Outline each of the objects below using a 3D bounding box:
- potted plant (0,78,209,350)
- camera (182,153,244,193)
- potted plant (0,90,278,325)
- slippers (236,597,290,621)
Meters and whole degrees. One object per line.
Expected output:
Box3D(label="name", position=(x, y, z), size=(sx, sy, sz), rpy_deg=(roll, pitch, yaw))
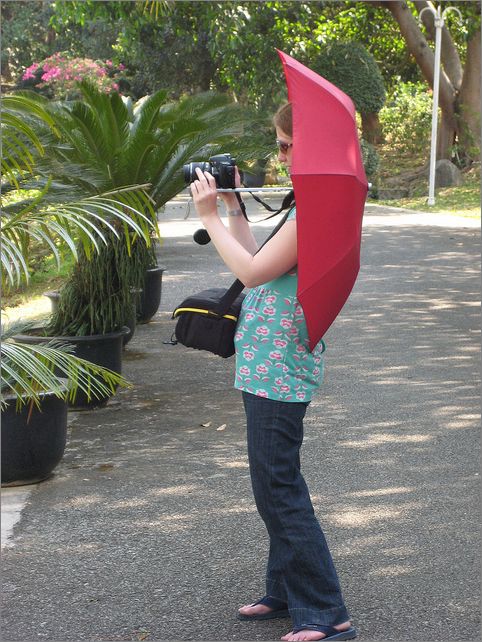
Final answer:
Box3D(label="potted plant", position=(-0.859, -0.808, 5.828), size=(1.994, 1.631, 1.916), rpy_deg=(0, -1, -29))
Box3D(label="camera", position=(-0.091, -0.502, 2.539), size=(0.185, 0.132, 0.090), rpy_deg=(0, 27, -2))
Box3D(label="potted plant", position=(-0.789, -0.852, 5.416), size=(2.226, 1.440, 1.840), rpy_deg=(0, 7, -4))
Box3D(label="slippers", position=(0.081, 1.009, 2.633), size=(0.207, 0.068, 0.077), rpy_deg=(2, -2, -2))
